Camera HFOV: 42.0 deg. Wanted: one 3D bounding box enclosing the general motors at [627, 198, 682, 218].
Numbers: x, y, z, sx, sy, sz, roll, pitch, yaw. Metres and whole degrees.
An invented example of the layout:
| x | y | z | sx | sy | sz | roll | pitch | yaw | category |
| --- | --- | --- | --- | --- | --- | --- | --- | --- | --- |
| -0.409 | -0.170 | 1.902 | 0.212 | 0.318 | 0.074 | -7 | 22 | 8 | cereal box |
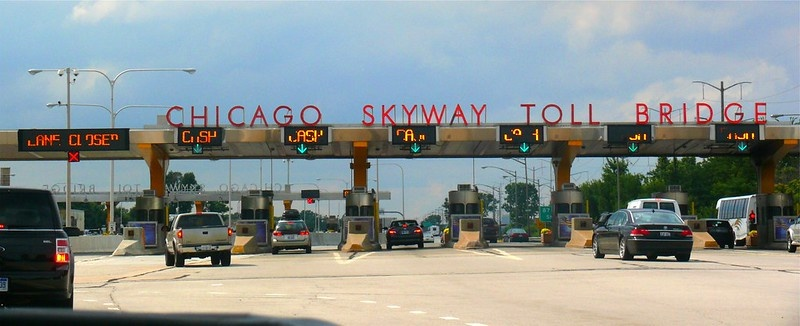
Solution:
| x | y | z | sx | sy | sz | roll | pitch | yaw | category |
| --- | --- | --- | --- | --- | --- | --- | --- | --- | --- |
| 25.859 | 4.335 | 104.157 | 4.936 | 2.077 | 2.812 | 4 | -4 | -19 | general motors |

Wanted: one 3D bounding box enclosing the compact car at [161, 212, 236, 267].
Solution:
| x | y | z | sx | sy | sz | roll | pitch | yaw | category |
| --- | --- | --- | --- | --- | --- | --- | --- | --- | --- |
| -17.771 | 6.943 | 93.038 | 5.690 | 4.821 | 1.620 | -1 | -6 | -3 | compact car |

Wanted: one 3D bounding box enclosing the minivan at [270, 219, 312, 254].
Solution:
| x | y | z | sx | sy | sz | roll | pitch | yaw | category |
| --- | --- | --- | --- | --- | --- | --- | --- | --- | --- |
| -10.879 | 7.574 | 103.898 | 4.102 | 2.303 | 6.167 | 0 | 2 | -4 | minivan |
